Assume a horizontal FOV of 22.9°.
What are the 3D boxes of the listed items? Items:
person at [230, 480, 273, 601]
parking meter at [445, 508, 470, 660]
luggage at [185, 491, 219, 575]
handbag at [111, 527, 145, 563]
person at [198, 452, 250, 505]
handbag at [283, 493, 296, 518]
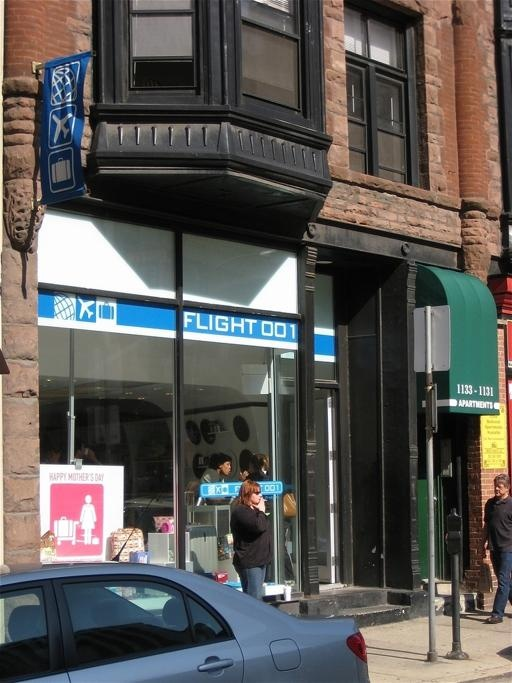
[{"bbox_3d":[-0.055,1.876,12.046,0.440,1.049,0.421,9,0,-28],"label":"person"},{"bbox_3d":[1.892,2.283,12.036,0.213,1.406,0.226,0,-7,-10],"label":"parking meter"},{"bbox_3d":[-0.563,1.956,12.904,0.348,0.795,0.301,-3,-6,44],"label":"luggage"},{"bbox_3d":[-1.223,1.935,12.112,0.139,0.301,0.434,-9,-9,41],"label":"handbag"},{"bbox_3d":[-0.358,1.408,13.207,0.433,0.984,0.337,0,0,-16],"label":"person"},{"bbox_3d":[0.354,1.793,13.887,0.076,0.251,0.168,-3,0,-6],"label":"handbag"}]
